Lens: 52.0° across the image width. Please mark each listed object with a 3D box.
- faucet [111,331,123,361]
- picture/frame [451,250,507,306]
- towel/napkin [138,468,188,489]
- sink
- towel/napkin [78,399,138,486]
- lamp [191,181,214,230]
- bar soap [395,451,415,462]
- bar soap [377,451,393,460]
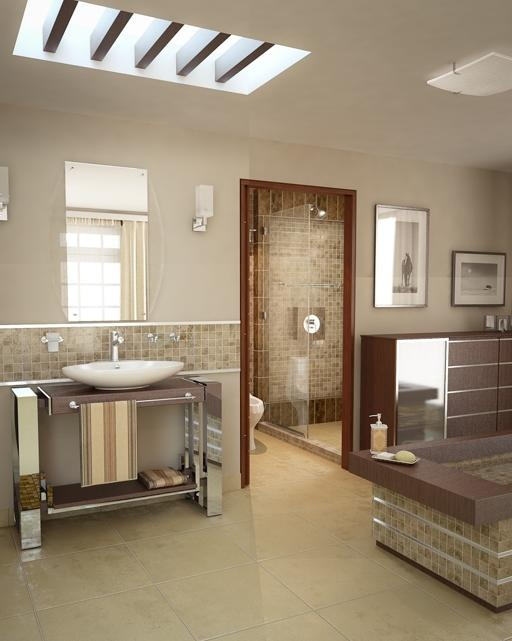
[{"bbox_3d":[-0.819,0.157,3.106,0.068,0.179,0.106,0,-2,-14],"label":"faucet"},{"bbox_3d":[1.901,-0.369,4.551,0.496,0.406,0.021,0,0,-25],"label":"picture/frame"},{"bbox_3d":[-0.520,0.912,3.025,0.261,0.061,0.227,1,-2,-28],"label":"towel/napkin"},{"bbox_3d":[-0.726,0.303,2.884,0.621,0.137,0.507,1,-2,-21],"label":"sink"},{"bbox_3d":[-0.735,0.609,2.625,0.278,0.398,0.032,1,-2,-31],"label":"towel/napkin"},{"bbox_3d":[-0.333,-0.704,3.349,0.143,0.286,0.136,0,-2,-13],"label":"lamp"},{"bbox_3d":[0.676,0.616,2.395,0.066,0.040,0.044,4,5,29],"label":"bar soap"},{"bbox_3d":[0.598,0.640,2.466,0.082,0.023,0.107,-1,-2,12],"label":"bar soap"}]
